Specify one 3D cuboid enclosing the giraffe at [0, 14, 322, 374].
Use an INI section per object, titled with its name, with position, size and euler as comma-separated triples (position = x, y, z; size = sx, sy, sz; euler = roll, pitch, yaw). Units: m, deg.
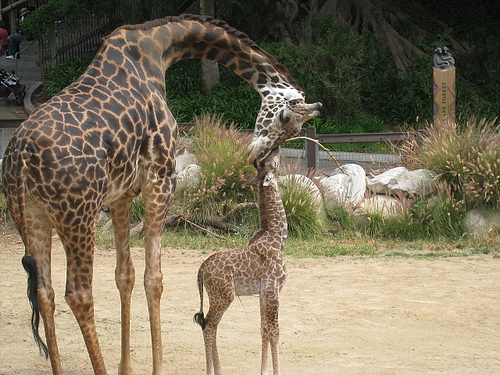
[giraffe]
position = -1.391, 0.177, 9.788
size = 3.162, 4.493, 1.229
euler = -6, 14, -26
